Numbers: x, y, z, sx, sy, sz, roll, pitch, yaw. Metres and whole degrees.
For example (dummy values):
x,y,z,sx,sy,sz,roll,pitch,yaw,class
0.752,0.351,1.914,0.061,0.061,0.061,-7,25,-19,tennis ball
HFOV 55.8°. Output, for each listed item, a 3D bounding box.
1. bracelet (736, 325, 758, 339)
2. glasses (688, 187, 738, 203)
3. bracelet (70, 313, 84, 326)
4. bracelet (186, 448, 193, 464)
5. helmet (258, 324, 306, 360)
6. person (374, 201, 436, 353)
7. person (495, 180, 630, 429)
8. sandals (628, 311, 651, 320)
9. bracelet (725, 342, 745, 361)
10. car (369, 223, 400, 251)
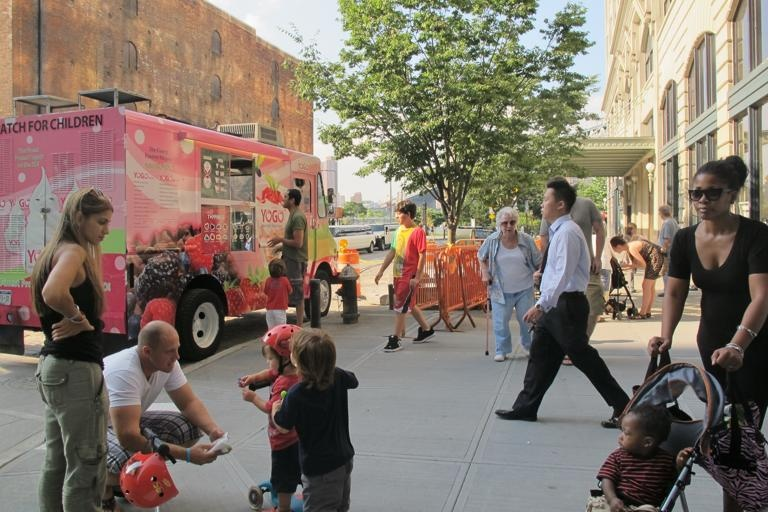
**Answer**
x,y,z,sx,sy,sz,roll,pitch,yaw,class
2.994,0.612,6.015,0.124,0.048,0.112,35,13,27,bracelet
2.782,-0.530,6.217,0.333,0.129,0.119,2,10,14,glasses
-2.561,0.519,6.074,0.078,0.047,0.068,-9,-7,-5,bracelet
-1.677,1.690,6.256,0.042,0.104,0.049,-3,10,-18,bracelet
-0.887,0.735,6.391,0.330,0.254,0.239,-1,10,-18,helmet
0.372,0.269,11.760,0.836,2.348,1.371,0,10,1,person
1.971,0.510,8.089,1.248,2.714,0.693,2,10,10,person
4.917,1.109,14.001,0.431,0.188,0.163,-2,1,21,sandals
2.877,0.755,5.959,0.141,0.054,0.133,23,-17,32,bracelet
0.100,-1.221,44.317,1.439,1.285,2.494,-1,-2,19,car
